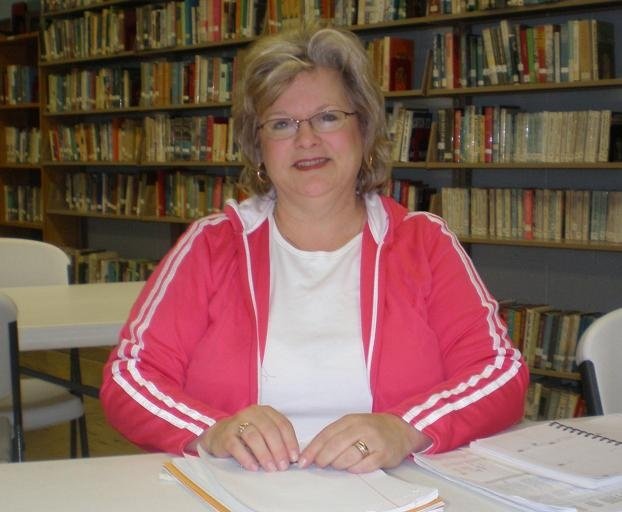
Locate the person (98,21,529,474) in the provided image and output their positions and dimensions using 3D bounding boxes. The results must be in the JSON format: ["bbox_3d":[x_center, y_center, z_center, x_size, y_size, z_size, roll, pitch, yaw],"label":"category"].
[{"bbox_3d":[0.043,-0.065,1.259,0.774,0.950,0.761,5,9,34],"label":"person"}]

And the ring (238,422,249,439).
[{"bbox_3d":[-0.119,0.301,1.008,0.012,0.017,0.004,-12,-40,45],"label":"ring"}]
